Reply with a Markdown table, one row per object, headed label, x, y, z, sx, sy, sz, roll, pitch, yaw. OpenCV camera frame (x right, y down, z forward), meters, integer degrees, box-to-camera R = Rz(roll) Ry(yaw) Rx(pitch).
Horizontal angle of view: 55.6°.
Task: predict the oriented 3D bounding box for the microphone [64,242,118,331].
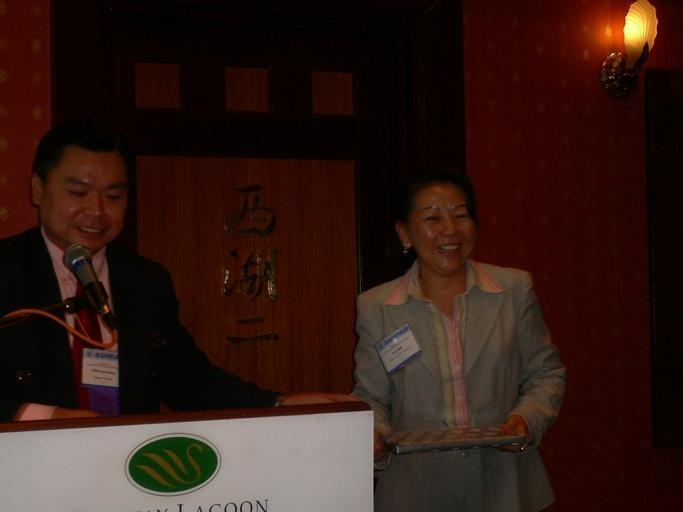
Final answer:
| label | x | y | z | sx | sy | sz | roll | pitch | yaw |
| --- | --- | --- | --- | --- | --- | --- | --- | --- | --- |
| microphone | -0.868 | 0.107 | 2.286 | 0.301 | 0.302 | 0.138 | -4 | -4 | 37 |
